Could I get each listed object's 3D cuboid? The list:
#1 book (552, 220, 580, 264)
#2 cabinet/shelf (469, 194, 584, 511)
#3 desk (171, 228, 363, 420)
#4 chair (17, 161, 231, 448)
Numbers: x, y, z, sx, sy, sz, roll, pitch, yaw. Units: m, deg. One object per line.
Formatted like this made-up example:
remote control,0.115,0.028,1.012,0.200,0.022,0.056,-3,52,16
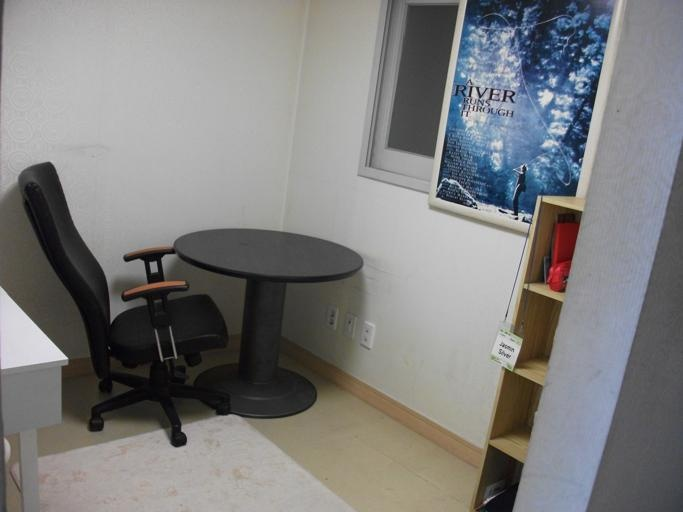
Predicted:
book,0.772,-0.050,1.786,0.073,0.139,0.160,12,18,22
cabinet/shelf,0.682,0.376,1.903,0.168,1.205,0.394,12,18,23
desk,-0.423,0.331,2.715,0.947,0.799,0.956,-4,18,-45
chair,-0.920,0.182,2.276,0.826,1.124,0.573,0,17,-24
